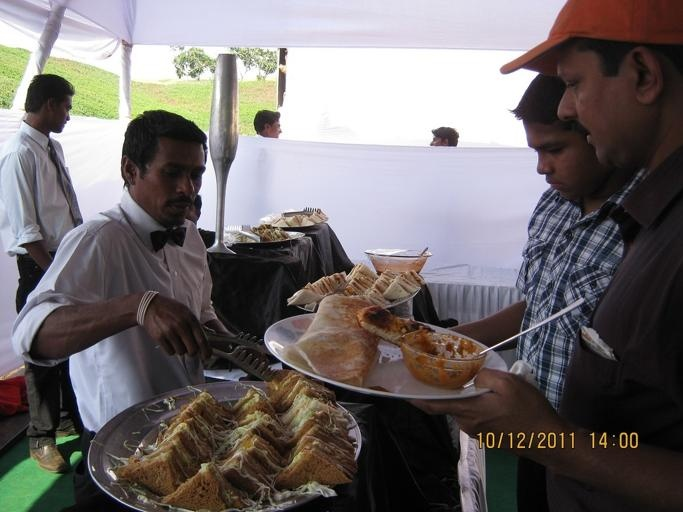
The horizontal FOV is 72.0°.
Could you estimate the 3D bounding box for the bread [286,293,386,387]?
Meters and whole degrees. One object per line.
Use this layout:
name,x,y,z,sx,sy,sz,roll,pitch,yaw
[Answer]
bread,0.003,0.261,1.560,0.261,0.097,0.423,7,31,13

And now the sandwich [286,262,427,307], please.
sandwich,0.027,0.082,2.017,0.491,0.172,0.452,8,9,41

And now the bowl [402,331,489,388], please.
bowl,0.319,0.292,1.448,0.224,0.151,0.217,1,7,0

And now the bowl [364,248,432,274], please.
bowl,0.371,0.018,3.220,0.287,0.243,0.316,3,7,7
